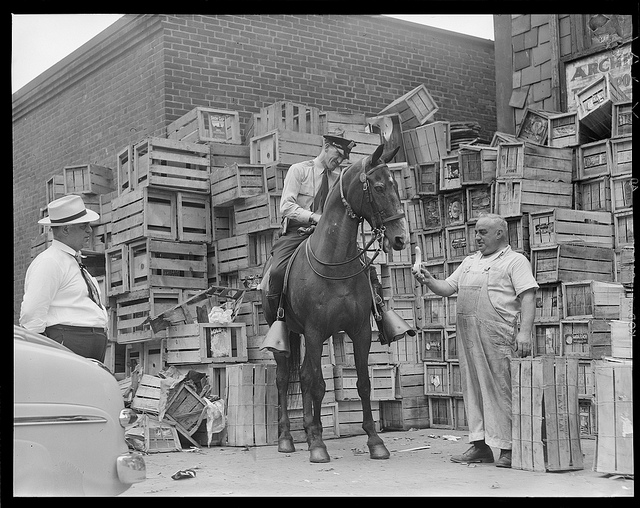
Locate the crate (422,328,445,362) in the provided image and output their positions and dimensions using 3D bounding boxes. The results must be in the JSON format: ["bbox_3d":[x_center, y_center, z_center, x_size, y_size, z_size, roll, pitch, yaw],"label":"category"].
[{"bbox_3d":[1.515,1.224,16.456,0.300,0.410,0.094,7,-8,7],"label":"crate"}]

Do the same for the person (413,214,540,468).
[{"bbox_3d":[1.808,0.909,12.952,1.124,2.655,0.479,-12,-13,41],"label":"person"}]

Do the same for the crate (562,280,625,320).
[{"bbox_3d":[3.473,0.587,15.288,0.651,0.450,0.661,0,-5,-22],"label":"crate"}]

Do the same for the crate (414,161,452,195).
[{"bbox_3d":[1.615,-1.052,17.053,0.344,0.434,0.430,-1,1,33],"label":"crate"}]

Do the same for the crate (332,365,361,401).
[{"bbox_3d":[0.275,1.645,15.710,0.396,0.520,0.443,-2,0,-1],"label":"crate"}]

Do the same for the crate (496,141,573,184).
[{"bbox_3d":[2.829,-1.189,16.045,0.992,0.496,0.536,4,-7,-23],"label":"crate"}]

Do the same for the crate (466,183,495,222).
[{"bbox_3d":[2.209,-0.566,16.271,0.406,0.456,0.118,-5,-37,5],"label":"crate"}]

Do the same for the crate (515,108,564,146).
[{"bbox_3d":[3.310,-1.775,17.518,0.783,0.435,0.798,15,14,3],"label":"crate"}]

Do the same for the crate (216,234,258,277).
[{"bbox_3d":[-1.033,0.017,16.842,0.671,0.383,0.654,-3,-8,-24],"label":"crate"}]

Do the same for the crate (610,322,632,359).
[{"bbox_3d":[3.124,0.871,12.486,0.370,0.347,0.214,0,-6,-3],"label":"crate"}]

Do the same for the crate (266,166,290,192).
[{"bbox_3d":[-0.610,-1.003,16.795,0.315,0.362,0.373,0,1,-34],"label":"crate"}]

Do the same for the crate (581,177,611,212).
[{"bbox_3d":[3.682,-0.743,16.000,0.320,0.366,0.395,3,-7,-44],"label":"crate"}]

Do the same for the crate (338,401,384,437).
[{"bbox_3d":[0.489,2.033,15.132,0.558,0.395,0.313,6,-22,-31],"label":"crate"}]

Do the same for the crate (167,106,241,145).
[{"bbox_3d":[-1.790,-1.888,18.186,0.759,0.320,0.768,6,6,38],"label":"crate"}]

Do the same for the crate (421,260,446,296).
[{"bbox_3d":[1.549,0.327,16.532,0.126,0.492,0.513,-8,13,-41],"label":"crate"}]

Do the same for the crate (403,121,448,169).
[{"bbox_3d":[1.564,-1.554,17.788,0.680,0.693,0.500,-13,0,36],"label":"crate"}]

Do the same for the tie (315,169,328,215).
[{"bbox_3d":[0.033,-0.673,14.093,0.091,0.382,0.282,9,-7,-24],"label":"tie"}]

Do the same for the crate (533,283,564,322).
[{"bbox_3d":[2.875,0.613,15.550,0.429,0.412,0.312,-3,-6,-11],"label":"crate"}]

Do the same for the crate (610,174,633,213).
[{"bbox_3d":[3.872,-0.764,15.470,0.301,0.429,0.434,3,-11,-3],"label":"crate"}]

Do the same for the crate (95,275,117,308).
[{"bbox_3d":[-2.785,0.482,15.847,0.284,0.423,0.433,-1,0,-40],"label":"crate"}]

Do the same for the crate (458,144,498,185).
[{"bbox_3d":[2.102,-1.200,16.491,0.365,0.528,0.438,-5,3,20],"label":"crate"}]

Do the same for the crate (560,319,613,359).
[{"bbox_3d":[3.457,1.099,15.225,0.659,0.416,0.664,10,-7,0],"label":"crate"}]

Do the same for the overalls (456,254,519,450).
[{"bbox_3d":[1.776,1.020,12.972,0.670,2.052,0.269,-12,-13,41],"label":"overalls"}]

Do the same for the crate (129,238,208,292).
[{"bbox_3d":[-2.052,0.144,16.930,1.146,0.580,1.119,4,-2,18],"label":"crate"}]

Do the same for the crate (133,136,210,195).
[{"bbox_3d":[-2.087,-1.180,17.078,1.266,0.593,1.298,-1,-6,26],"label":"crate"}]

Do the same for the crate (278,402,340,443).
[{"bbox_3d":[-0.077,2.120,15.533,0.859,0.536,0.606,-3,-6,-4],"label":"crate"}]

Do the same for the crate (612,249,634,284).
[{"bbox_3d":[3.873,0.143,15.388,0.123,0.464,0.328,6,-13,-42],"label":"crate"}]

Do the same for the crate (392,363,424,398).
[{"bbox_3d":[1.197,1.647,16.225,0.224,0.393,0.422,-3,-3,37],"label":"crate"}]

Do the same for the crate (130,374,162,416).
[{"bbox_3d":[-2.085,1.670,14.547,0.440,0.479,0.172,-11,-12,38],"label":"crate"}]

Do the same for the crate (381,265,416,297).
[{"bbox_3d":[1.128,0.295,16.719,0.507,0.489,0.368,1,27,17],"label":"crate"}]

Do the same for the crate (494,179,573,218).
[{"bbox_3d":[2.755,-0.588,15.899,0.960,0.467,0.499,1,-5,-27],"label":"crate"}]

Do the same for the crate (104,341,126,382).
[{"bbox_3d":[-2.916,1.404,17.274,0.275,0.375,0.390,-1,7,-5],"label":"crate"}]

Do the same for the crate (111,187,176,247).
[{"bbox_3d":[-2.448,-0.511,16.754,0.788,0.809,0.485,-6,0,32],"label":"crate"}]

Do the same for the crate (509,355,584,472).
[{"bbox_3d":[2.373,1.642,12.694,0.684,1.164,0.361,0,-10,-18],"label":"crate"}]

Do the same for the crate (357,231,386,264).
[{"bbox_3d":[0.693,-0.083,16.470,0.269,0.444,0.433,-1,3,-40],"label":"crate"}]

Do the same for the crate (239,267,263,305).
[{"bbox_3d":[-0.901,0.417,16.046,0.433,0.423,0.248,-5,-10,25],"label":"crate"}]

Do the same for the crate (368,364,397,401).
[{"bbox_3d":[0.871,1.603,16.052,0.390,0.490,0.516,-1,16,18],"label":"crate"}]

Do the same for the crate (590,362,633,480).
[{"bbox_3d":[2.988,1.660,12.261,0.433,1.130,0.159,-7,-10,20],"label":"crate"}]

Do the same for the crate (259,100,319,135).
[{"bbox_3d":[-0.401,-1.928,18.168,0.850,0.478,0.898,-2,-3,36],"label":"crate"}]

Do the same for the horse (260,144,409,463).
[{"bbox_3d":[0.177,0.651,13.596,0.855,3.246,2.665,2,-11,-27],"label":"horse"}]

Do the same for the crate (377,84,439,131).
[{"bbox_3d":[1.611,-2.284,18.959,0.360,0.602,0.423,-41,-18,2],"label":"crate"}]

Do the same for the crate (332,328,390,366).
[{"bbox_3d":[0.550,1.225,16.108,0.736,0.521,0.469,2,14,5],"label":"crate"}]

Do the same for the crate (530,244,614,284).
[{"bbox_3d":[3.297,0.159,15.577,1.016,0.500,0.555,-1,0,17],"label":"crate"}]

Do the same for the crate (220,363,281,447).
[{"bbox_3d":[-0.898,1.855,15.117,0.599,1.001,0.582,1,-8,-34],"label":"crate"}]

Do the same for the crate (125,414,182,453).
[{"bbox_3d":[-1.934,2.087,14.357,0.558,0.456,0.286,6,-13,-41],"label":"crate"}]

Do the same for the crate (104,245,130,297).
[{"bbox_3d":[-2.660,0.242,16.873,0.428,0.598,0.629,-3,-8,-32],"label":"crate"}]

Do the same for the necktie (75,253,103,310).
[{"bbox_3d":[-2.369,0.270,12.423,0.258,0.570,0.198,-2,-10,-8],"label":"necktie"}]

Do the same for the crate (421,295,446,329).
[{"bbox_3d":[1.634,0.796,16.544,0.405,0.390,0.321,-3,-5,21],"label":"crate"}]

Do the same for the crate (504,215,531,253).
[{"bbox_3d":[2.527,-0.231,15.924,0.361,0.505,0.524,-6,-4,1],"label":"crate"}]
